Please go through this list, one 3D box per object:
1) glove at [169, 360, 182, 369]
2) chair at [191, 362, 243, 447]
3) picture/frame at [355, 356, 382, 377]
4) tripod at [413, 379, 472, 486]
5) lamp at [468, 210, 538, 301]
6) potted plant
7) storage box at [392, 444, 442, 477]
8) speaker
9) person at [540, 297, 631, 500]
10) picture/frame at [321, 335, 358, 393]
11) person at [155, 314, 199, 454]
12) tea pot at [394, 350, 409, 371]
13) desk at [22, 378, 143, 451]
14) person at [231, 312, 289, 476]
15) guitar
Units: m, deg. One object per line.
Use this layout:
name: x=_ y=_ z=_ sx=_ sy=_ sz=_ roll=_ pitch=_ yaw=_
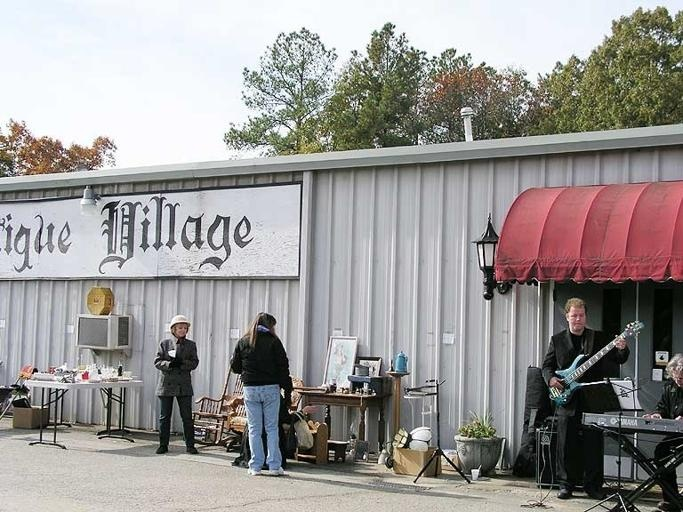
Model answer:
glove: x=-2.751 y=1.810 z=15.059 sx=0.162 sy=0.108 sz=0.130 roll=4 pitch=-2 yaw=2
chair: x=-2.170 y=2.643 z=16.189 sx=0.754 sy=1.515 sz=0.856 roll=-2 pitch=-2 yaw=33
picture/frame: x=0.475 y=1.869 z=15.188 sx=0.413 sy=0.408 sz=0.029 roll=0 pitch=-39 yaw=22
tripod: x=1.499 y=2.734 z=14.628 sx=1.312 sy=2.121 sz=1.362 roll=0 pitch=-11 yaw=6
lamp: x=2.410 y=-0.026 z=14.357 sx=0.651 sy=1.418 sz=0.892 roll=0 pitch=-7 yaw=7
potted plant: x=2.126 y=2.962 z=14.172 sx=0.629 sy=0.879 sz=0.545 roll=-1 pitch=-4 yaw=5
storage box: x=1.197 y=3.101 z=14.072 sx=0.620 sy=0.371 sz=0.468 roll=-4 pitch=-7 yaw=45
speaker: x=3.164 y=3.058 z=13.634 sx=0.847 sy=1.447 sz=0.867 roll=-4 pitch=-9 yaw=33
person: x=3.465 y=2.045 z=12.848 sx=1.388 sy=2.869 sz=1.004 roll=-4 pitch=-11 yaw=28
picture/frame: x=-0.026 y=1.803 z=15.430 sx=0.610 sy=0.910 sz=0.364 roll=-2 pitch=-7 yaw=17
person: x=-2.750 y=2.169 z=15.170 sx=0.748 sy=2.181 sz=0.666 roll=-1 pitch=-8 yaw=6
tea pot: x=1.002 y=1.775 z=14.944 sx=0.303 sy=0.319 sz=0.250 roll=6 pitch=-8 yaw=-37
desk: x=-4.805 y=2.910 z=16.350 sx=1.792 sy=1.409 sz=1.646 roll=1 pitch=-5 yaw=35
person: x=-1.192 y=2.082 z=13.637 sx=0.869 sy=2.424 sz=0.388 roll=2 pitch=-7 yaw=-8
guitar: x=3.698 y=1.474 z=12.909 sx=1.114 sy=1.295 sz=1.053 roll=0 pitch=-4 yaw=37
